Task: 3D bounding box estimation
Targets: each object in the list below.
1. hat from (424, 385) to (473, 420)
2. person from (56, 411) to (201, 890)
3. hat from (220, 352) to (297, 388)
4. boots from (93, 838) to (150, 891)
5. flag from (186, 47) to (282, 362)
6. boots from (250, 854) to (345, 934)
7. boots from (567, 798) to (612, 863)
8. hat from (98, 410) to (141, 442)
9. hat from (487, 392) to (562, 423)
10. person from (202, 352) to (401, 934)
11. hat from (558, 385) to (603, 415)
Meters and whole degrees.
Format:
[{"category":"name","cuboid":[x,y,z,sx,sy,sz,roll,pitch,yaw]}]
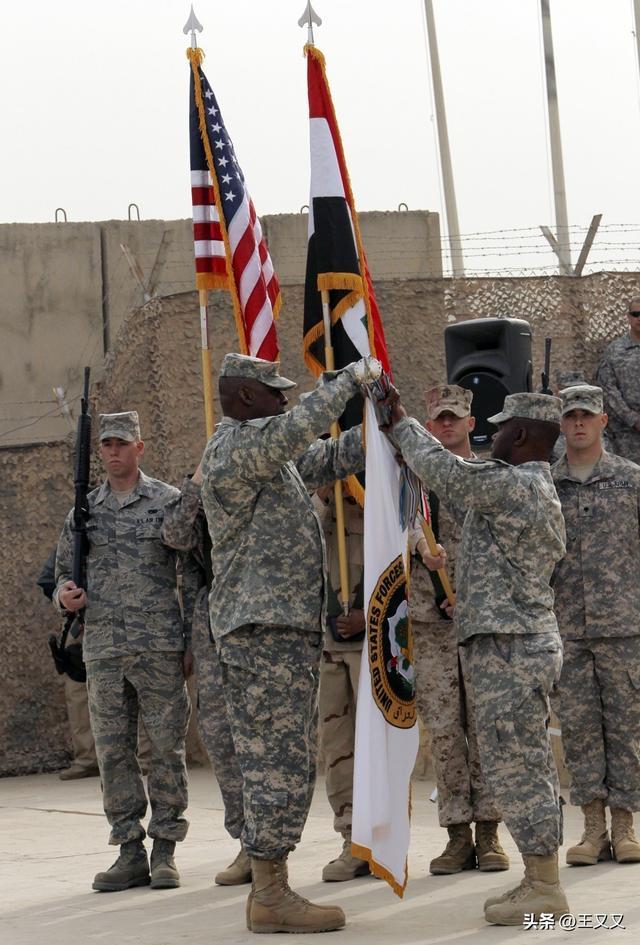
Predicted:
[{"category":"hat","cuboid":[0.571,-0.303,5.881,0.145,0.095,0.180,-1,-17,7]},{"category":"person","cuboid":[-0.795,0.725,5.665,0.849,1.910,0.631,-5,-5,21]},{"category":"hat","cuboid":[-0.216,-0.366,4.835,0.222,0.072,0.135,16,4,-11]},{"category":"boots","cuboid":[-0.855,1.620,5.534,0.117,0.198,0.308,-11,-13,34]},{"category":"flag","cuboid":[-0.430,-1.294,6.566,0.389,1.059,0.540,-3,-3,-41]},{"category":"boots","cuboid":[-0.029,1.455,4.707,0.441,0.321,0.161,0,-6,-2]},{"category":"boots","cuboid":[1.123,1.494,5.633,0.112,0.235,0.267,-11,-11,40]},{"category":"hat","cuboid":[-0.870,-0.206,5.866,0.131,0.089,0.166,-2,-1,3]},{"category":"hat","cuboid":[0.741,-0.231,4.840,0.191,0.087,0.132,-9,-2,23]},{"category":"person","cuboid":[-0.071,0.551,4.719,0.606,1.379,0.637,-5,-3,-6]},{"category":"hat","cuboid":[1.149,-0.318,5.942,0.197,0.122,0.249,-2,-5,14]}]
